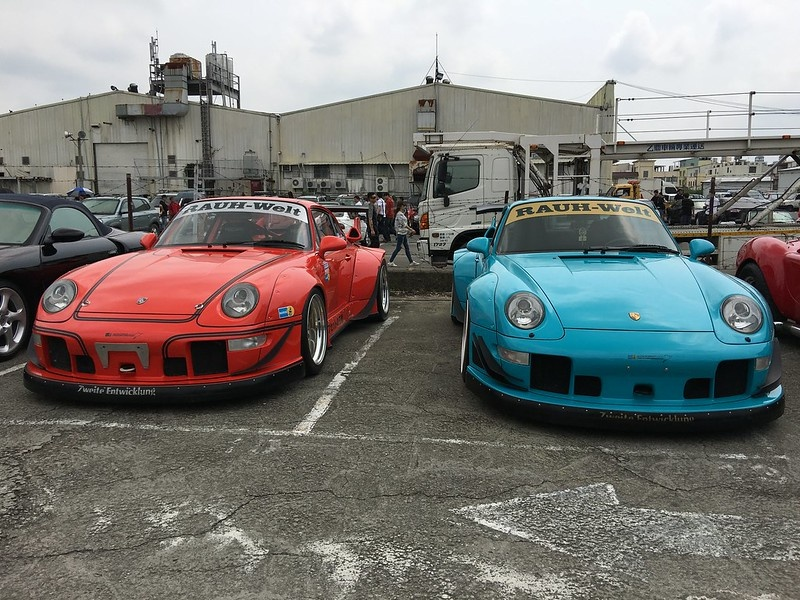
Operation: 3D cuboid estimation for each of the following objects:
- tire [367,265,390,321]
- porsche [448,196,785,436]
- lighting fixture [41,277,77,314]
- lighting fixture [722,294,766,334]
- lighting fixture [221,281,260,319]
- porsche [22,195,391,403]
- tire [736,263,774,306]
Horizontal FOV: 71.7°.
[{"bbox_3d":[-0.289,-0.077,7.016,0.237,0.718,0.734,-1,3,10],"label":"tire"},{"bbox_3d":[1.530,-0.052,4.039,1.489,0.876,2.508,0,3,8],"label":"porsche"},{"bbox_3d":[-2.631,-0.029,4.256,0.248,0.190,0.422,-8,15,-34],"label":"lighting fixture"},{"bbox_3d":[2.276,0.095,3.657,0.203,0.108,0.274,-1,50,12],"label":"lighting fixture"},{"bbox_3d":[-1.199,0.009,4.119,0.228,0.202,0.276,7,14,27],"label":"lighting fixture"},{"bbox_3d":[-1.366,-0.157,4.982,1.589,0.833,2.576,1,5,17],"label":"porsche"},{"bbox_3d":[3.427,-0.153,5.285,0.168,0.457,0.463,1,-6,-7],"label":"tire"}]
